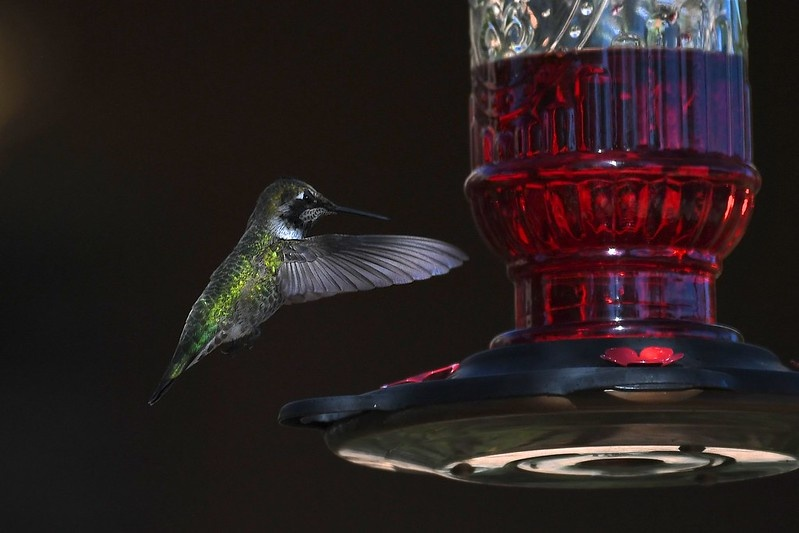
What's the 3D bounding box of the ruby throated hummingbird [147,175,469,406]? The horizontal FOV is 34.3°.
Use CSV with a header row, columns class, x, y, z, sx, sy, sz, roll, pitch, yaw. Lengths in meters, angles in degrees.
class,x,y,z,sx,sy,sz,roll,pitch,yaw
ruby throated hummingbird,-0.170,0.003,2.271,0.494,0.231,0.577,-6,-2,-24
